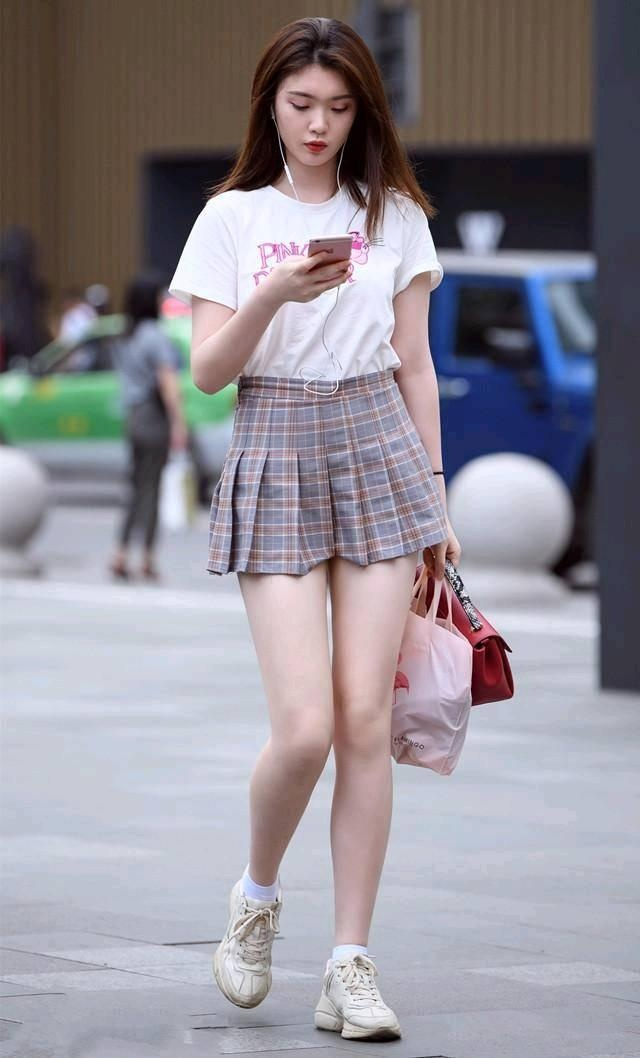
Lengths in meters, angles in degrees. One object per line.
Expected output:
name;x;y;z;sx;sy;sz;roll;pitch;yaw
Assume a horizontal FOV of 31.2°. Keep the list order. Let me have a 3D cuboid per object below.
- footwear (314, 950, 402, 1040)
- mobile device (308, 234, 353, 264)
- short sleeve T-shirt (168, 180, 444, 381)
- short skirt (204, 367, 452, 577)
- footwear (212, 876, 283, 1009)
footwear;0.065;0.719;1.778;0.089;0.115;0.233;5;-13;-18
mobile device;0.013;-0.368;1.520;0.055;0.036;0.060;0;4;-4
short sleeve T-shirt;-0.005;-0.390;1.807;0.439;0.296;0.215;-1;10;-13
short skirt;-0.011;-0.080;1.888;0.548;0.406;0.282;-3;3;-11
footwear;-0.110;0.667;1.866;0.081;0.087;0.217;19;26;-11
